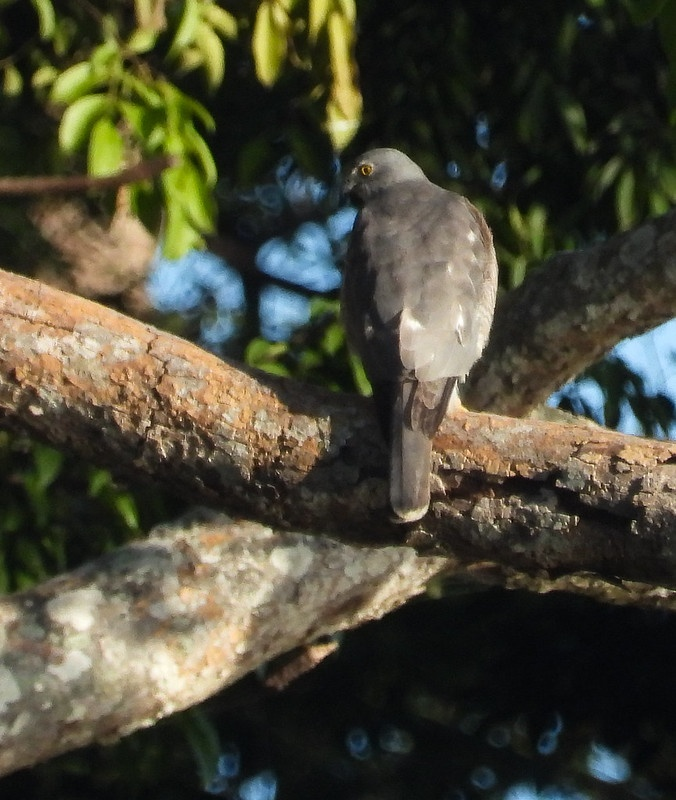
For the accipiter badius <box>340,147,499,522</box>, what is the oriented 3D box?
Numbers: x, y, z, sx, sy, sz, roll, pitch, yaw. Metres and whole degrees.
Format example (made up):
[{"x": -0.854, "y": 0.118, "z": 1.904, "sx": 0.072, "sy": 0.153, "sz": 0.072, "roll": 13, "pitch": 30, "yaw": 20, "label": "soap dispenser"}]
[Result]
[{"x": 0.191, "y": -0.158, "z": 2.914, "sx": 0.408, "sy": 0.296, "sz": 0.883, "roll": 12, "pitch": 46, "yaw": -6, "label": "accipiter badius"}]
